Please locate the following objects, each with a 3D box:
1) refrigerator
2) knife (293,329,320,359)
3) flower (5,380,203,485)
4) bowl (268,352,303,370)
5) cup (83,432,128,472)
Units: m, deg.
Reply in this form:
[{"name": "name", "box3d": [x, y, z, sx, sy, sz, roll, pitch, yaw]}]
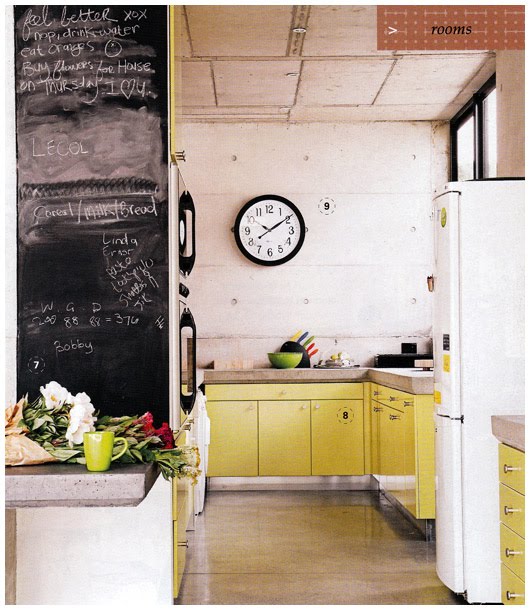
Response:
[{"name": "refrigerator", "box3d": [0.934, 0.344, 2.806, 0.338, 1.757, 0.153, 0, 0, -6]}, {"name": "knife", "box3d": [0.307, 0.276, 4.956, 0.051, 0.223, 0.130, -37, -10, 22]}, {"name": "flower", "box3d": [-0.517, 0.407, 2.053, 0.504, 0.204, 0.328, 13, -2, -11]}, {"name": "bowl", "box3d": [0.138, 0.394, 4.803, 0.253, 0.123, 0.259, 0, 1, 0]}, {"name": "cup", "box3d": [-0.483, 0.423, 1.994, 0.125, 0.110, 0.172, 0, 1, -7]}]
